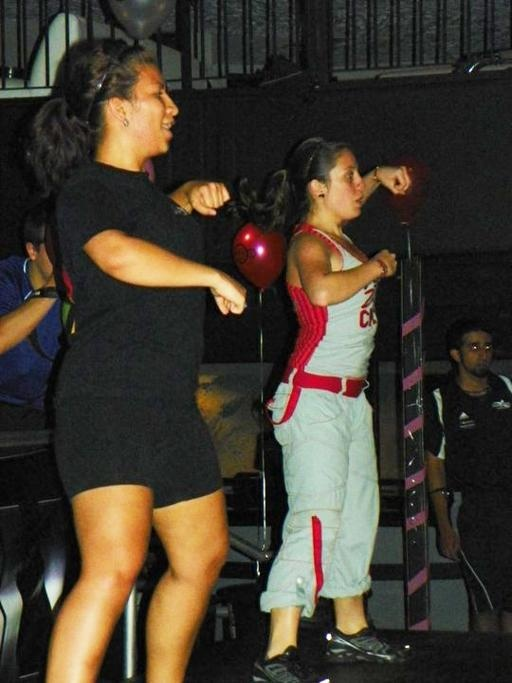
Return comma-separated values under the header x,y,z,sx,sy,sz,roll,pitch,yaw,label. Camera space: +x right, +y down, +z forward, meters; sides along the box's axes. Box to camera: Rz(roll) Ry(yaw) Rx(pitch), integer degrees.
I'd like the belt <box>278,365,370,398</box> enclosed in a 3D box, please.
x,y,z,sx,sy,sz,roll,pitch,yaw,label
0.184,0.116,1.988,0.223,0.080,0.117,-1,-2,1,belt

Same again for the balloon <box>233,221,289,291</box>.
x,y,z,sx,sy,sz,roll,pitch,yaw,label
0.019,-0.462,3.799,0.359,0.475,0.295,-1,24,-2,balloon

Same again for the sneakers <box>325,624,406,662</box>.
x,y,z,sx,sy,sz,roll,pitch,yaw,label
0.283,0.823,2.000,0.247,0.082,0.080,0,-4,3,sneakers
